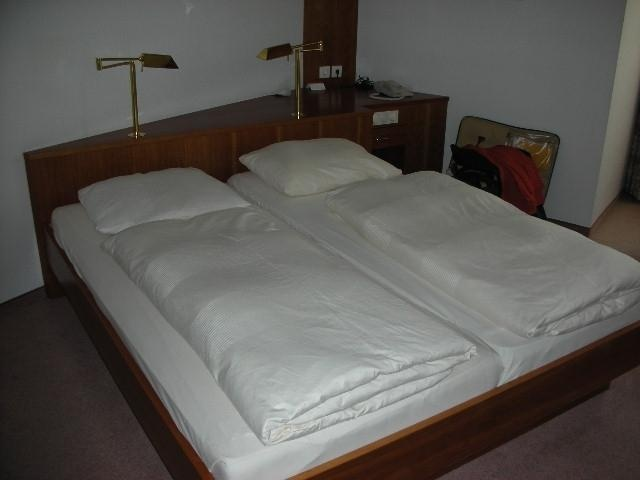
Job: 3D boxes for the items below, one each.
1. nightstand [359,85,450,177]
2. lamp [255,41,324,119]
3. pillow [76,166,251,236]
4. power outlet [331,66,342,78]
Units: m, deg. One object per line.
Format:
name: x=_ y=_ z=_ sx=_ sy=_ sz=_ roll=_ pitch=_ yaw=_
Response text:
nightstand: x=0.653 y=-0.889 z=4.106 sx=0.678 sy=0.689 sz=0.429 roll=-11 pitch=36 yaw=-9
lamp: x=-0.191 y=-1.112 z=3.235 sx=0.363 sy=0.433 sz=0.200 roll=1 pitch=60 yaw=-3
pillow: x=-0.798 y=-0.221 z=2.466 sx=0.590 sy=0.156 sz=0.436 roll=-12 pitch=40 yaw=-29
power outlet: x=0.138 y=-1.469 z=4.254 sx=0.027 sy=0.085 sz=0.094 roll=5 pitch=32 yaw=47
